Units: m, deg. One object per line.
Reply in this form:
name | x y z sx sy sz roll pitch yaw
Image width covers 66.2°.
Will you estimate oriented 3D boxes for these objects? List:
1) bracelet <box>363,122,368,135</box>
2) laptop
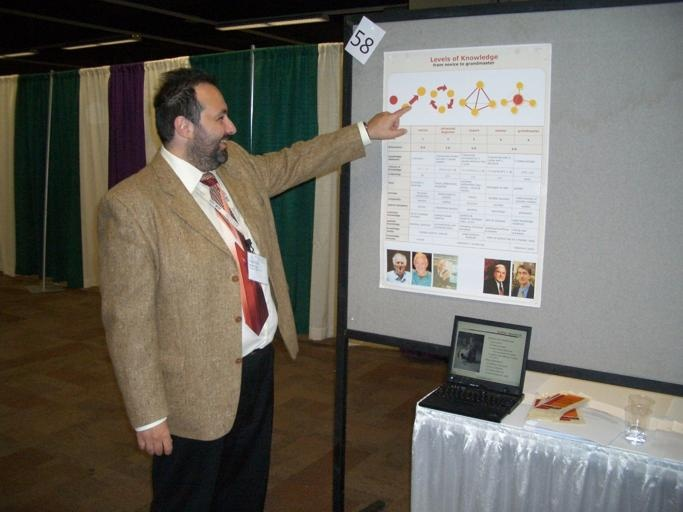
bracelet | 0.092 -0.486 1.983 0.012 0.034 0.024 -18 2 0
laptop | 0.515 0.397 1.893 0.328 0.361 0.248 9 13 26
